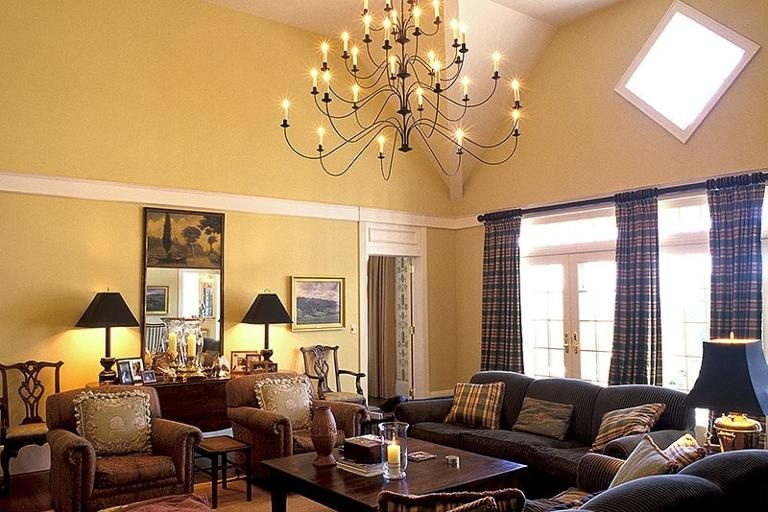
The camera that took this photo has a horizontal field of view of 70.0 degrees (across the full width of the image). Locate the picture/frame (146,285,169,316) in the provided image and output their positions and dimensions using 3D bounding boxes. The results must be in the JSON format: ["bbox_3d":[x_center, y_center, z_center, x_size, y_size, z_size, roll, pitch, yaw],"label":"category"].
[{"bbox_3d":[-2.843,0.563,6.847,0.377,0.378,0.029,3,-8,-36],"label":"picture/frame"}]

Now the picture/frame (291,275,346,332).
[{"bbox_3d":[-0.986,0.695,7.975,0.842,0.706,0.087,3,-7,-35],"label":"picture/frame"}]

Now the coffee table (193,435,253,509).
[{"bbox_3d":[-1.661,2.092,5.697,0.661,0.745,0.800,4,-8,-28],"label":"coffee table"}]

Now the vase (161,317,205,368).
[{"bbox_3d":[-2.557,1.101,7.005,0.478,0.627,0.456,0,3,-9],"label":"vase"}]

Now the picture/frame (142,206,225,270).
[{"bbox_3d":[-2.626,-0.228,7.047,0.848,0.586,0.060,-1,1,-32],"label":"picture/frame"}]

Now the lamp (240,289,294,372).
[{"bbox_3d":[-1.577,0.992,7.355,0.723,0.910,0.712,-6,-6,44],"label":"lamp"}]

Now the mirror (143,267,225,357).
[{"bbox_3d":[-2.575,0.723,6.943,1.090,1.432,0.057,6,-11,-34],"label":"mirror"}]

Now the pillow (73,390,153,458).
[{"bbox_3d":[-2.555,1.589,5.116,0.622,0.557,0.099,0,-21,-37],"label":"pillow"}]

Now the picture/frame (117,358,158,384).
[{"bbox_3d":[-2.917,1.359,6.448,0.098,0.230,0.254,-23,-18,29],"label":"picture/frame"}]

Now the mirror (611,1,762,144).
[{"bbox_3d":[3.884,-2.319,6.902,1.505,1.609,0.107,41,21,21],"label":"mirror"}]

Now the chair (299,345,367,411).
[{"bbox_3d":[-0.711,1.803,7.570,0.688,1.029,0.792,-6,-9,43],"label":"chair"}]

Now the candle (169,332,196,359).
[{"bbox_3d":[-2.530,1.118,6.831,0.328,0.285,0.116,7,-11,-43],"label":"candle"}]

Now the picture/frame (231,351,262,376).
[{"bbox_3d":[-1.804,1.413,7.154,0.282,0.236,0.098,0,-10,-2],"label":"picture/frame"}]

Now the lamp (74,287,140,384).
[{"bbox_3d":[-3.250,0.929,6.392,0.572,1.055,0.522,6,-7,-39],"label":"lamp"}]
